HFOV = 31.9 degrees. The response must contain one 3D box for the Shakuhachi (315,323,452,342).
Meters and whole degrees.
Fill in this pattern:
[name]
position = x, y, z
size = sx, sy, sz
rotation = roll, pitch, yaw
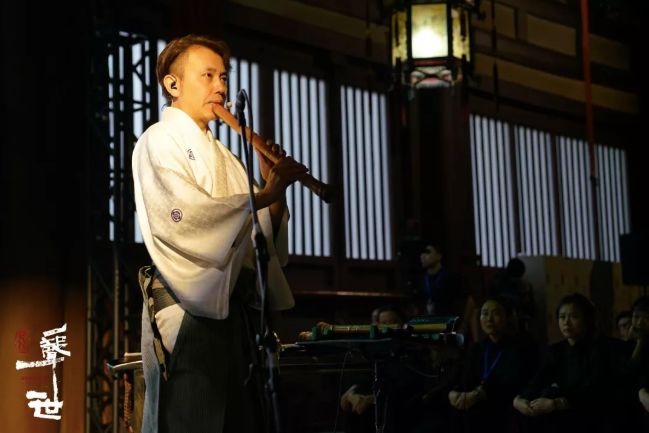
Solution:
[Shakuhachi]
position = 0.417, 0.803, 8.230
size = 1.046, 0.140, 0.172
rotation = -4, -9, 10
